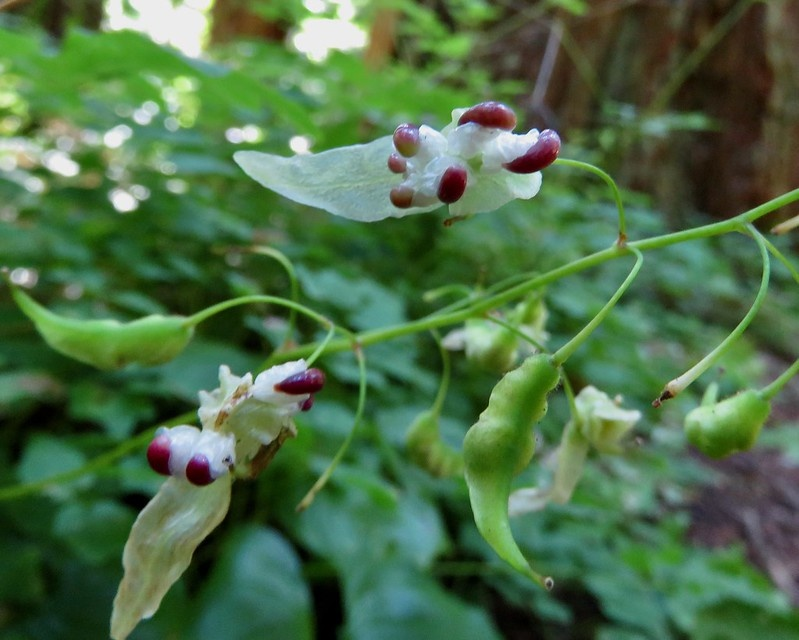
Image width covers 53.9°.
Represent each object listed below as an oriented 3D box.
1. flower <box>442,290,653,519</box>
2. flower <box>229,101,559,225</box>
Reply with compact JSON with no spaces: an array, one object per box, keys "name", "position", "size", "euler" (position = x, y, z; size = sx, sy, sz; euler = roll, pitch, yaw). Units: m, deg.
[{"name":"flower","position":[0.234,0.130,1.411],"size":[0.124,0.368,0.391],"euler":[35,5,-12]},{"name":"flower","position":[-0.003,-0.223,1.157],"size":[0.354,0.139,0.222],"euler":[-15,60,-24]}]
